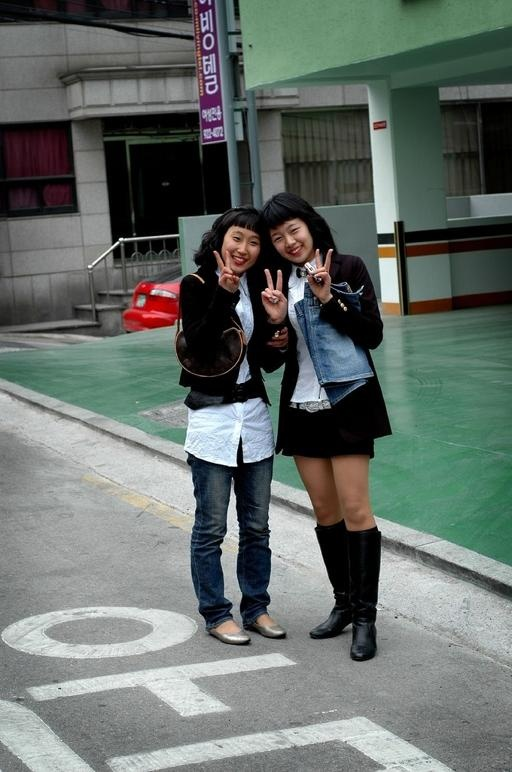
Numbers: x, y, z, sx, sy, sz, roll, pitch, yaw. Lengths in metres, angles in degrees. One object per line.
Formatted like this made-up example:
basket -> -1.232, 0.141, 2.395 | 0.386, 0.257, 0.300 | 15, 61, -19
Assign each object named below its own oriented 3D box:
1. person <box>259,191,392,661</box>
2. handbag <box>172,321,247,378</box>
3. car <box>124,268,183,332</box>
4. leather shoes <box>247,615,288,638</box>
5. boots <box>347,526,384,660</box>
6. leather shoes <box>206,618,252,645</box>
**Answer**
person -> 0.347, 0.186, 2.775 | 0.460, 1.929, 0.696 | -10, 15, -18
handbag -> -0.178, -0.146, 2.712 | 0.218, 0.280, 0.103 | 2, 15, 13
car -> -2.127, -1.758, 14.679 | 1.102, 1.222, 1.594 | -14, 17, -33
leather shoes -> 0.048, 1.063, 2.998 | 0.072, 0.081, 0.207 | -6, 4, -38
boots -> 0.436, 0.853, 2.700 | 0.130, 0.523, 0.276 | -2, 15, 10
leather shoes -> -0.109, 1.058, 2.890 | 0.085, 0.066, 0.169 | -4, 5, -42
